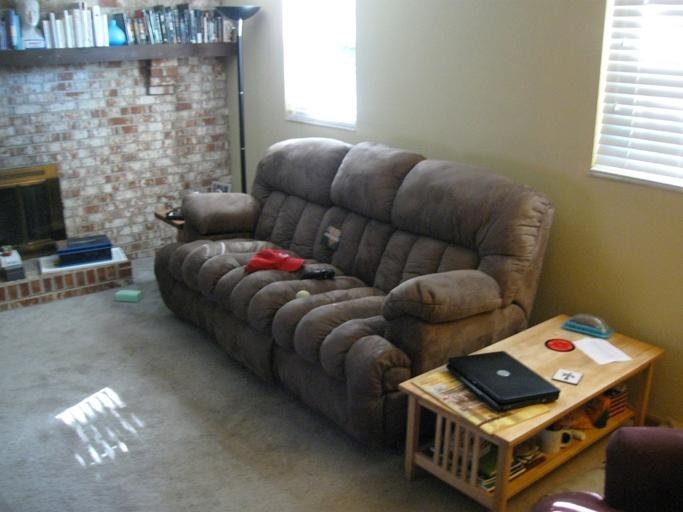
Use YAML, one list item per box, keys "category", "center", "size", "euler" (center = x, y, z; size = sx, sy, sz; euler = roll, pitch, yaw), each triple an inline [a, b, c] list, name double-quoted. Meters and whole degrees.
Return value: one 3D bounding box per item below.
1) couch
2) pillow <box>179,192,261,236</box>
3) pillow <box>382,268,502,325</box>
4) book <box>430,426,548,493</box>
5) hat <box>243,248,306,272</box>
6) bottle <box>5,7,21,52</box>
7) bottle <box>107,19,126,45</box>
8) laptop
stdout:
- category: "couch"
  center: [0.108, 0.243, 3.088]
  size: [1.026, 0.833, 1.980]
  euler: [-11, 19, -37]
- category: "pillow"
  center: [-0.875, -0.328, 4.144]
  size: [0.455, 0.168, 0.424]
  euler: [-5, 16, -26]
- category: "pillow"
  center: [0.403, 0.148, 2.682]
  size: [0.452, 0.118, 0.215]
  euler: [8, 13, -27]
- category: "book"
  center: [0.742, 0.899, 2.427]
  size: [0.301, 0.061, 0.286]
  euler: [-8, 14, -37]
- category: "hat"
  center: [-0.429, 0.037, 3.546]
  size: [0.240, 0.057, 0.209]
  euler: [-4, 15, -13]
- category: "bottle"
  center: [-2.470, -1.669, 4.114]
  size: [0.078, 0.238, 0.293]
  euler: [-5, 1, -31]
- category: "bottle"
  center: [-1.873, -1.831, 4.533]
  size: [0.135, 0.207, 0.156]
  euler: [3, 22, 5]
- category: "laptop"
  center: [0.712, 0.538, 2.420]
  size: [0.315, 0.092, 0.355]
  euler: [-8, 20, -23]
